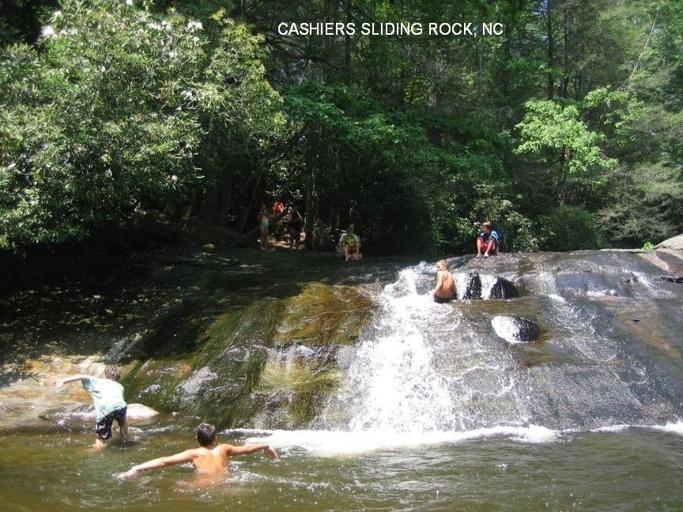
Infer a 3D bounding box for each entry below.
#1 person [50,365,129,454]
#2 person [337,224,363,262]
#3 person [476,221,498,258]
[{"bbox_3d":[-4.763,2.937,10.506,1.032,1.378,0.566,-5,-13,-14],"label":"person"},{"bbox_3d":[0.312,-0.559,21.510,0.818,1.334,1.425,-2,8,-4],"label":"person"},{"bbox_3d":[4.553,-0.566,17.343,0.615,1.017,1.116,0,8,14],"label":"person"}]
